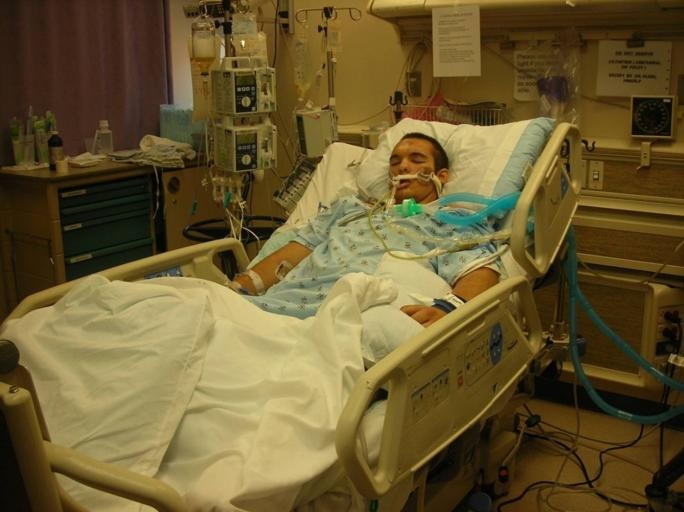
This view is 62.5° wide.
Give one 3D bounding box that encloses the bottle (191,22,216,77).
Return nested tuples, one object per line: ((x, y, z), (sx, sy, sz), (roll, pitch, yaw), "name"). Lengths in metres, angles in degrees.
((-0.648, -0.983, 2.656), (0.110, 0.230, 0.168), (-5, 15, -15), "bottle")

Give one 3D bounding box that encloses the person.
((0.229, -0.070, 2.293), (0.956, 0.570, 1.417), (2, 22, 15), "person")

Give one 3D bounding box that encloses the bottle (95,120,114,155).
((-1.480, -0.746, 3.611), (0.119, 0.231, 0.119), (-1, 9, 0), "bottle")

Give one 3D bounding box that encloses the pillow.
((0.626, -0.461, 2.511), (0.542, 0.182, 0.569), (-1, 28, 37), "pillow")
